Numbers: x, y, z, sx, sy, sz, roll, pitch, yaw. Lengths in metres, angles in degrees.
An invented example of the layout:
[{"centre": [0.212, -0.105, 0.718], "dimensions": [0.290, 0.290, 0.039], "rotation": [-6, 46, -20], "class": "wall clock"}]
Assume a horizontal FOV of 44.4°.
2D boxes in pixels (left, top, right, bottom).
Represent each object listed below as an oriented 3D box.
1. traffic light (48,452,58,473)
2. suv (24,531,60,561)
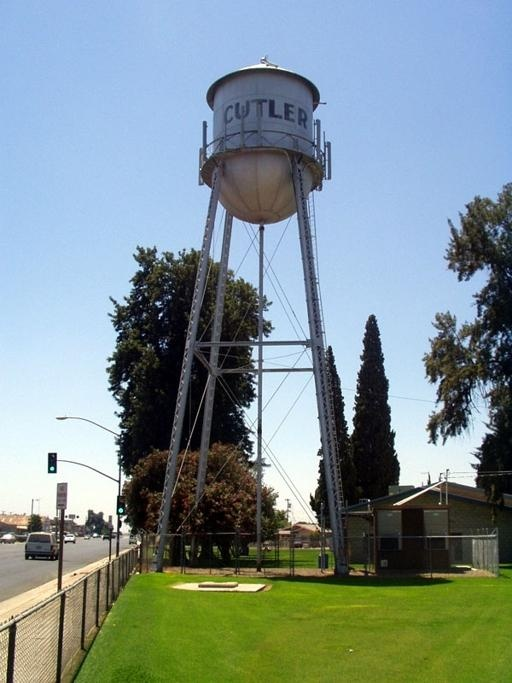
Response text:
[{"centre": [-6.899, 4.078, 21.297], "dimensions": [0.250, 0.643, 1.714], "rotation": [4, -17, -18], "class": "traffic light"}, {"centre": [-14.909, 14.327, 43.701], "dimensions": [2.072, 1.829, 2.779], "rotation": [5, -17, -21], "class": "suv"}]
